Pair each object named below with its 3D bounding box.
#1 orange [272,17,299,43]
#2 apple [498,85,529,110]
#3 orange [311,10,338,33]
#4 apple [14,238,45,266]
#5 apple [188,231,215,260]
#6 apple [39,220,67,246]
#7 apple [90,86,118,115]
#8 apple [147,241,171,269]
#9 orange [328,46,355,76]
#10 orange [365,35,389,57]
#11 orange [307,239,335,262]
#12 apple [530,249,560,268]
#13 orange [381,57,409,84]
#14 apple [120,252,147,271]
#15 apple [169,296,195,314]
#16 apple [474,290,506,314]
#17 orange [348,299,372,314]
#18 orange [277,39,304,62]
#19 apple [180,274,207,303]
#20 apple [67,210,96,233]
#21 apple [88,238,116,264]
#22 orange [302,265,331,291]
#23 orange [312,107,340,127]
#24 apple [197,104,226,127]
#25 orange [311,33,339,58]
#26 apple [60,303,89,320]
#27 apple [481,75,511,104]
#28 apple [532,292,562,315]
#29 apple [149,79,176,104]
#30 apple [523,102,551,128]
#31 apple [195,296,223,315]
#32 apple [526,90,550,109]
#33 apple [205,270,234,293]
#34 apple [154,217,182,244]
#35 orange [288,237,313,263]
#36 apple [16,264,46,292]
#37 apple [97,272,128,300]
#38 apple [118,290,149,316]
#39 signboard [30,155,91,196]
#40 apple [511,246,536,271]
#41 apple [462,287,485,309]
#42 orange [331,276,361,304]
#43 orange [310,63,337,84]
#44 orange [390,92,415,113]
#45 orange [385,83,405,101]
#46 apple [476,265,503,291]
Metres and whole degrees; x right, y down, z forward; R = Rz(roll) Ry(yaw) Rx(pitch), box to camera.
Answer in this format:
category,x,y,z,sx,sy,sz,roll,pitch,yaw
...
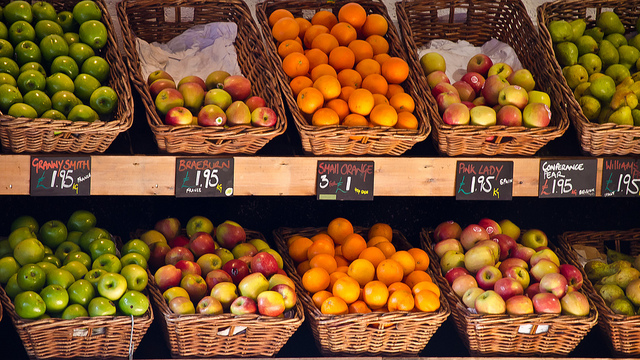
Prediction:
category,x,y,z,sx,sy,sz,roll,pitch,yaw
orange,-0.189,-0.801,2.534,0.129,0.158,0.132,3,15,2
apple,0.955,-0.418,2.373,0.121,0.121,0.123,3,31,3
orange,0.026,-0.873,2.574,0.130,0.114,0.115,11,34,6
apple,-1.363,0.338,2.221,0.109,0.137,0.113,-20,-31,31
apple,-0.594,0.320,2.400,0.121,0.145,0.121,-5,4,-16
apple,-1.307,0.257,2.346,0.114,0.139,0.113,1,6,-17
apple,-0.988,-0.364,2.229,0.117,0.115,0.114,19,18,-11
apple,-0.820,0.379,2.436,0.142,0.139,0.139,3,-17,-39
orange,0.114,-0.616,2.420,0.126,0.154,0.128,1,-16,8
orange,0.315,-0.720,2.572,0.107,0.106,0.107,-25,54,-13
orange,0.008,0.364,2.464,0.111,0.130,0.108,11,-25,-22
apple,1.174,0.396,2.484,0.105,0.103,0.103,1,-20,-8
orange,0.389,-0.565,2.454,0.143,0.170,0.145,1,5,3
apple,-0.889,0.374,2.258,0.091,0.093,0.086,0,-4,20
apple,-0.623,0.564,2.124,0.107,0.076,0.061,-4,7,-5
apple,0.798,0.577,2.222,0.106,0.105,0.111,-6,25,29
orange,0.180,0.588,2.207,0.064,0.041,0.067,19,17,36
orange,-0.160,-0.678,2.490,0.107,0.108,0.109,37,-10,22
apple,-0.580,0.493,2.253,0.120,0.112,0.121,25,9,-20
apple,-1.225,0.214,2.445,0.116,0.144,0.121,-3,18,-37
apple,-1.047,0.342,2.288,0.105,0.108,0.104,2,-10,-16
orange,-0.013,0.469,2.325,0.110,0.134,0.114,6,12,24
orange,0.022,-0.289,2.191,0.088,0.106,0.089,-1,-33,7
apple,-0.505,-0.298,2.189,0.116,0.141,0.120,2,-4,-9
orange,0.029,-0.708,2.529,0.117,0.119,0.134,6,-38,-6
apple,-1.069,0.570,2.059,0.077,0.087,0.068,10,4,-42
apple,0.910,-0.461,2.440,0.116,0.116,0.118,15,31,-21
apple,1.070,0.574,2.249,0.103,0.098,0.096,-5,1,-13
apple,-0.776,-0.434,2.349,0.116,0.118,0.139,0,8,15
apple,1.056,-0.317,2.307,0.125,0.119,0.086,-7,7,-24
apple,-0.495,0.563,2.120,0.079,0.082,0.083,5,43,-32
apple,1.107,-0.407,2.386,0.086,0.083,0.088,0,-1,10
apple,-0.484,0.459,2.234,0.104,0.123,0.099,24,-35,-28
apple,-0.821,0.262,2.573,0.147,0.148,0.140,-2,10,-11
orange,-0.059,0.370,2.528,0.117,0.138,0.112,-8,-10,14
apple,-1.273,0.434,2.088,0.114,0.114,0.117,16,43,-18
apple,-0.921,0.472,2.117,0.116,0.111,0.115,-6,41,-17
apple,-0.830,0.542,2.162,0.107,0.109,0.110,-21,-41,35
signboard,-1.129,-0.017,2.066,0.023,0.175,0.249,1,1,45
apple,1.073,0.410,2.498,0.110,0.110,0.113,-1,0,4
apple,0.736,0.562,2.299,0.088,0.091,0.087,-26,-45,25
orange,0.118,0.504,2.216,0.119,0.123,0.118,-2,-6,-11
orange,0.016,-0.545,2.427,0.096,0.110,0.096,-4,39,-19
orange,0.400,-0.373,2.297,0.101,0.100,0.104,-8,28,1
orange,0.377,-0.453,2.451,0.086,0.100,0.083,-4,15,-18
apple,0.832,0.478,2.340,0.111,0.112,0.102,-20,-27,-3
